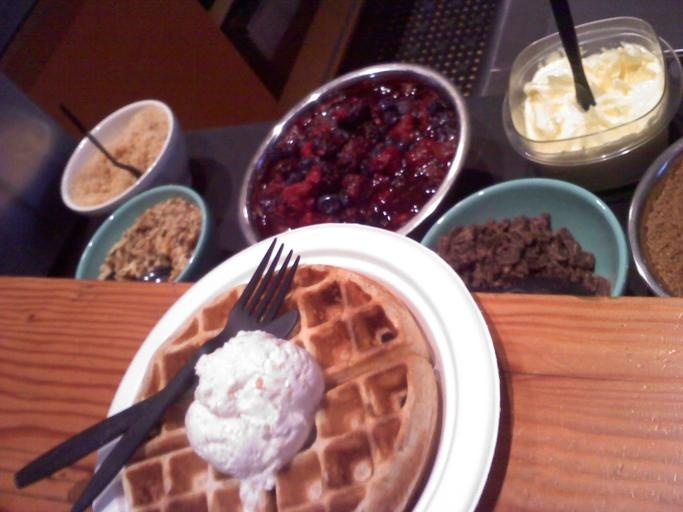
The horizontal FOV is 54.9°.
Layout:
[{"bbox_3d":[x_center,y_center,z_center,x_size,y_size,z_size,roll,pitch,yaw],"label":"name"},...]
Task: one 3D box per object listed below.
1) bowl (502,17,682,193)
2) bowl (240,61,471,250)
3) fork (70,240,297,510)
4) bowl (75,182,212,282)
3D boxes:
[{"bbox_3d":[0.612,-0.355,1.538,0.424,0.193,0.445,-21,53,31],"label":"bowl"},{"bbox_3d":[0.064,-0.231,1.738,0.499,0.120,0.516,-21,52,30],"label":"bowl"},{"bbox_3d":[-0.278,0.231,1.180,0.077,0.067,0.505,32,90,33],"label":"fork"},{"bbox_3d":[-0.551,-0.084,1.950,0.304,0.126,0.355,-16,58,30],"label":"bowl"}]
